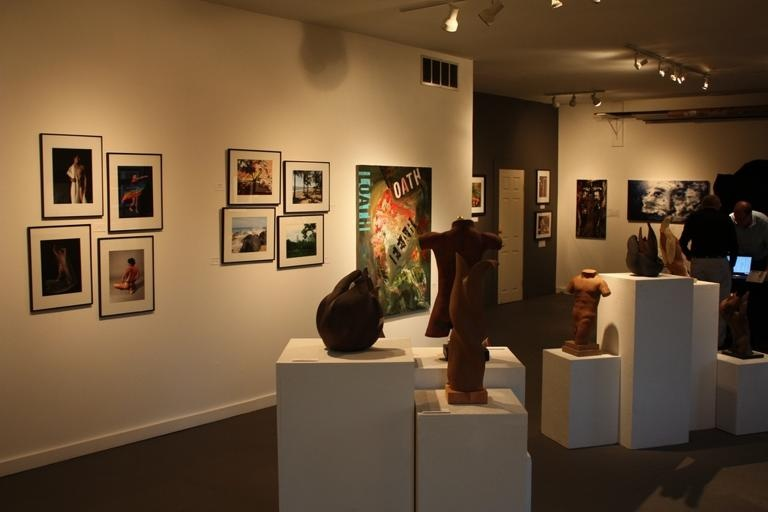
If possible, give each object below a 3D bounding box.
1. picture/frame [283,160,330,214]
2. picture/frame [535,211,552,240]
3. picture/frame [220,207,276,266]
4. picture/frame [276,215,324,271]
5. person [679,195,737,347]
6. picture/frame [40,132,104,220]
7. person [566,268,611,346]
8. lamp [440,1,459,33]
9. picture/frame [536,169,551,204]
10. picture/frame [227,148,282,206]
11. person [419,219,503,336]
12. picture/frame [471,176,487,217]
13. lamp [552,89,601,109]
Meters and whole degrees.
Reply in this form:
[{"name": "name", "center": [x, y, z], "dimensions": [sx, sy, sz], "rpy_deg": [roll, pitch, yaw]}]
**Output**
[{"name": "picture/frame", "center": [-0.964, -0.846, 7.020], "dimensions": [0.586, 0.613, 0.057], "rpy_deg": [-4, 2, -43]}, {"name": "picture/frame", "center": [3.364, -0.661, 12.347], "dimensions": [0.039, 0.592, 0.535], "rpy_deg": [-1, 3, 41]}, {"name": "picture/frame", "center": [-1.577, -0.231, 6.616], "dimensions": [0.572, 0.639, 0.022], "rpy_deg": [-6, 7, -39]}, {"name": "picture/frame", "center": [-1.036, -0.169, 6.996], "dimensions": [0.612, 0.669, 0.042], "rpy_deg": [-2, 2, -41]}, {"name": "person", "center": [4.242, -0.099, 7.624], "dimensions": [0.732, 1.398, 0.231], "rpy_deg": [0, 5, 8]}, {"name": "picture/frame", "center": [-3.025, -0.785, 5.667], "dimensions": [0.540, 0.865, 0.019], "rpy_deg": [-2, -16, -28]}, {"name": "person", "center": [2.138, 0.537, 6.091], "dimensions": [0.429, 0.783, 0.343], "rpy_deg": [1, 6, 18]}, {"name": "lamp", "center": [0.735, -2.737, 6.583], "dimensions": [0.183, 0.373, 0.208], "rpy_deg": [21, 39, 8]}, {"name": "picture/frame", "center": [3.343, -1.489, 12.278], "dimensions": [0.088, 0.918, 0.650], "rpy_deg": [1, 4, 35]}, {"name": "picture/frame", "center": [-1.505, -0.909, 6.626], "dimensions": [0.589, 0.657, 0.040], "rpy_deg": [-5, 6, -36]}, {"name": "person", "center": [0.690, 0.204, 5.454], "dimensions": [0.716, 1.114, 0.245], "rpy_deg": [0, 5, 4]}, {"name": "picture/frame", "center": [1.759, -1.149, 10.849], "dimensions": [0.082, 0.860, 0.749], "rpy_deg": [1, 4, 28]}, {"name": "lamp", "center": [3.768, -3.014, 11.351], "dimensions": [0.968, 0.310, 1.922], "rpy_deg": [2, 8, 21]}]
